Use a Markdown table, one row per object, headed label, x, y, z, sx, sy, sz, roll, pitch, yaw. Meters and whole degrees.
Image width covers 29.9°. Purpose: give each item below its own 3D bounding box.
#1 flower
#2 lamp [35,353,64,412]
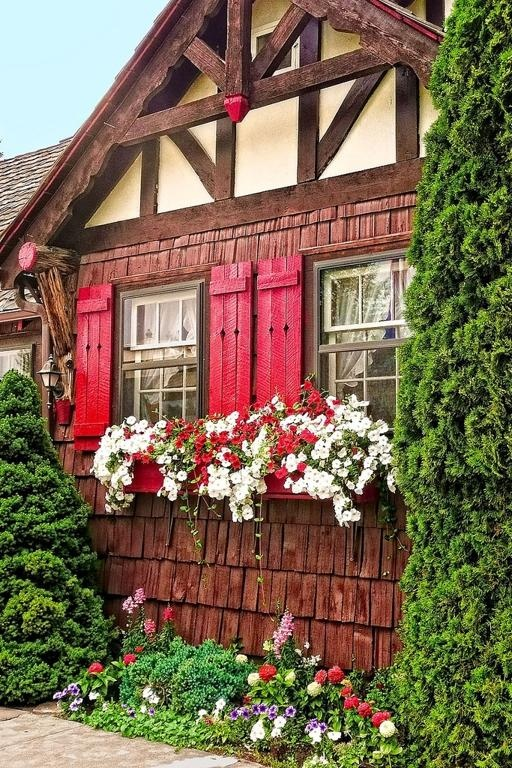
| label | x | y | z | sx | sy | sz | roll | pitch | yaw |
| --- | --- | --- | --- | --- | --- | --- | --- | --- | --- |
| flower | -0.044 | 0.414 | 5.577 | 2.045 | 0.817 | 0.451 | -5 | -7 | 42 |
| lamp | -1.487 | -0.022 | 6.923 | 0.164 | 0.387 | 0.194 | 4 | -7 | -41 |
